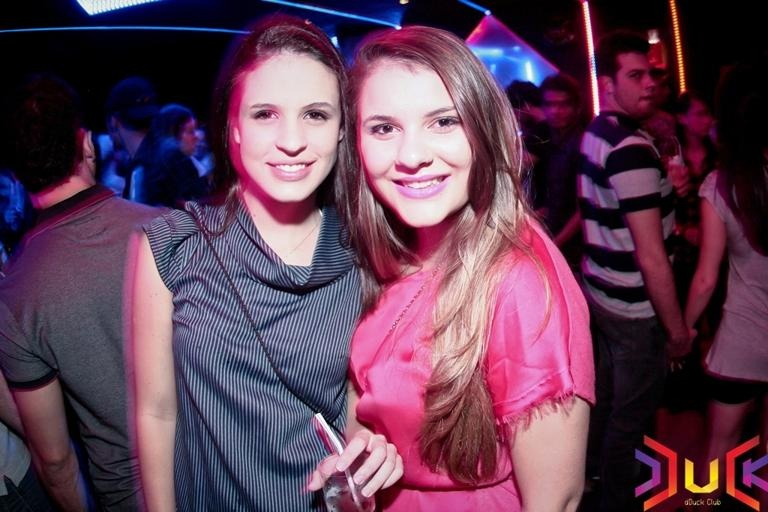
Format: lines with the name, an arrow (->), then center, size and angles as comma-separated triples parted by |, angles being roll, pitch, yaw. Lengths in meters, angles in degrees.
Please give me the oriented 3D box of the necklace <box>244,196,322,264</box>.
necklace -> -0.447, -0.081, 3.126 | 0.257, 0.363, 0.133 | -8, -4, -18
